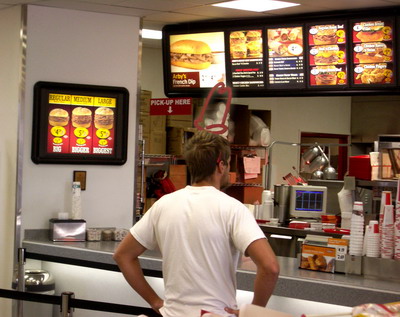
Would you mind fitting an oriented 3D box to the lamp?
[{"bbox_3d":[1.911,0.100,6.234,0.598,0.803,0.438,-2,5,-41],"label":"lamp"}]
